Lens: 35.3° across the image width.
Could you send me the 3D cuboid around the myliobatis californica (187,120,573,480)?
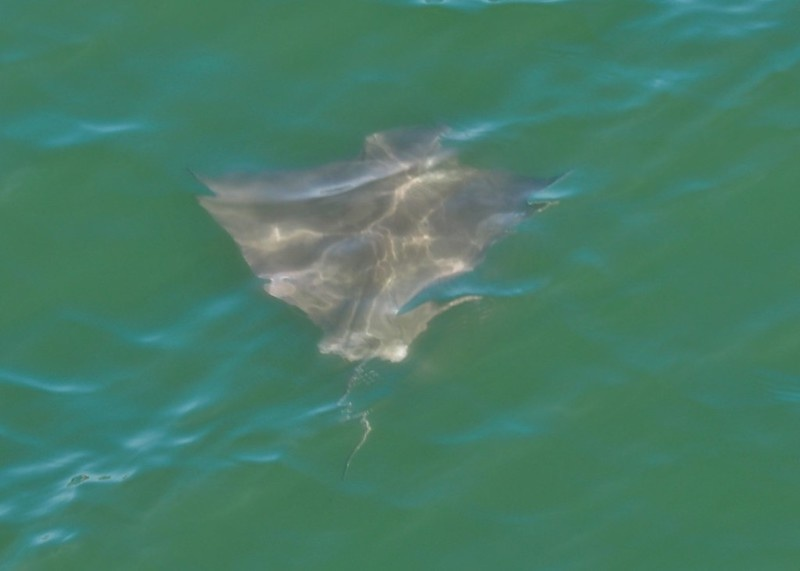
[{"bbox_3d":[-0.229,-0.421,11.980,2.792,0.800,1.908,-14,68,-7],"label":"myliobatis californica"}]
